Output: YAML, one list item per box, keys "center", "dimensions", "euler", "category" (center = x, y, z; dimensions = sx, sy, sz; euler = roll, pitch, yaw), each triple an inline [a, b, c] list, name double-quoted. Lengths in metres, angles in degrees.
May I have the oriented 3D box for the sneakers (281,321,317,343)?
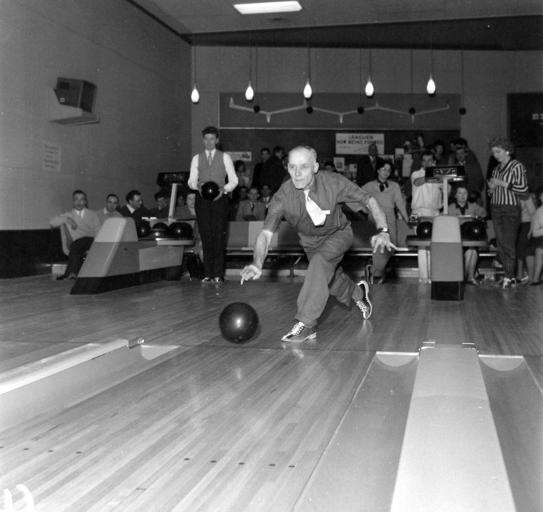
- center: [0.166, 0.446, 2.684]
  dimensions: [0.085, 0.141, 0.251]
  euler: [-4, -8, 37]
  category: "sneakers"

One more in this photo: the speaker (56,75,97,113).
- center: [-2.849, -2.330, 6.639]
  dimensions: [0.558, 0.451, 0.266]
  euler: [1, 3, -31]
  category: "speaker"

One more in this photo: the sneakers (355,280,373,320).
- center: [0.700, 0.344, 3.479]
  dimensions: [0.084, 0.257, 0.076]
  euler: [-6, -6, -24]
  category: "sneakers"

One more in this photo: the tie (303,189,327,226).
- center: [0.261, -0.277, 2.748]
  dimensions: [0.109, 0.209, 0.077]
  euler: [-12, 23, 18]
  category: "tie"
